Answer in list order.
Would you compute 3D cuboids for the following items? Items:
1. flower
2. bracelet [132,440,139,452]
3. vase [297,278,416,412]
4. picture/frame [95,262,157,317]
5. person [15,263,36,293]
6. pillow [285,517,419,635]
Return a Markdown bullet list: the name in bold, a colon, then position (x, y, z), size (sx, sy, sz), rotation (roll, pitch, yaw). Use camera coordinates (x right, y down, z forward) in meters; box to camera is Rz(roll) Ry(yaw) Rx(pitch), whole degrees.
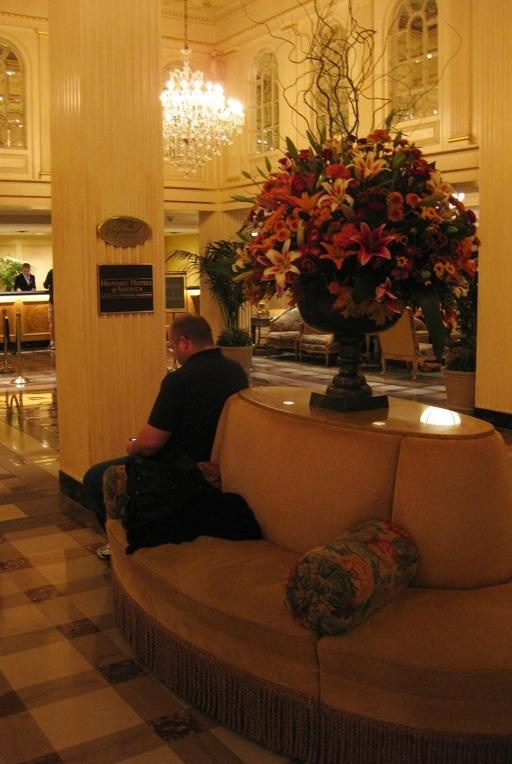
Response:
- **flower**: position (0.371, -0.364, 2.070), size (0.732, 0.810, 0.727), rotation (-8, -1, 30)
- **bracelet**: position (-0.512, 0.271, 2.526), size (0.015, 0.042, 0.031), rotation (4, -5, -37)
- **vase**: position (0.342, -0.128, 2.171), size (0.396, 0.437, 0.381), rotation (-4, 7, -22)
- **picture/frame**: position (-0.906, -0.632, 4.068), size (0.406, 0.324, 0.053), rotation (-5, 7, -44)
- **person**: position (-6.056, -2.679, 15.533), size (0.518, 0.799, 1.051), rotation (-10, 8, -20)
- **pillow**: position (0.263, 0.484, 1.560), size (0.199, 0.199, 0.420), rotation (-1, 10, 40)
